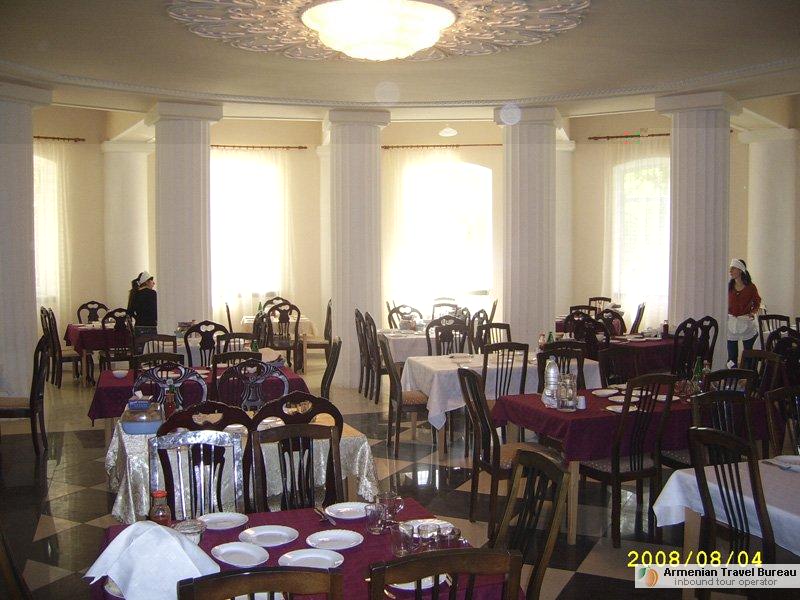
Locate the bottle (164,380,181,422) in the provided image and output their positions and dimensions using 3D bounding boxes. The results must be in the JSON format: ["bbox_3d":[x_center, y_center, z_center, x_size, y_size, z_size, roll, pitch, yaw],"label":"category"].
[{"bbox_3d":[-1.814,0.763,5.213,0.102,0.248,0.302,-1,2,-16],"label":"bottle"}]

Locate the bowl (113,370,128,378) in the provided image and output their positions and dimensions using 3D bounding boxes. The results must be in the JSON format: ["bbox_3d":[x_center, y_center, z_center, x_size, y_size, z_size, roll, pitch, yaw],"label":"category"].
[{"bbox_3d":[-2.815,0.739,6.635,0.092,0.046,0.090,2,-4,0],"label":"bowl"}]

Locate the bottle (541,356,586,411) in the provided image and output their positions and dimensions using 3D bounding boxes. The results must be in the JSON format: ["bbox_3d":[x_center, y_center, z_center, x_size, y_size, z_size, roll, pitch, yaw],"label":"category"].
[{"bbox_3d":[1.348,0.710,5.373,0.294,0.407,0.410,-1,6,-12],"label":"bottle"}]
